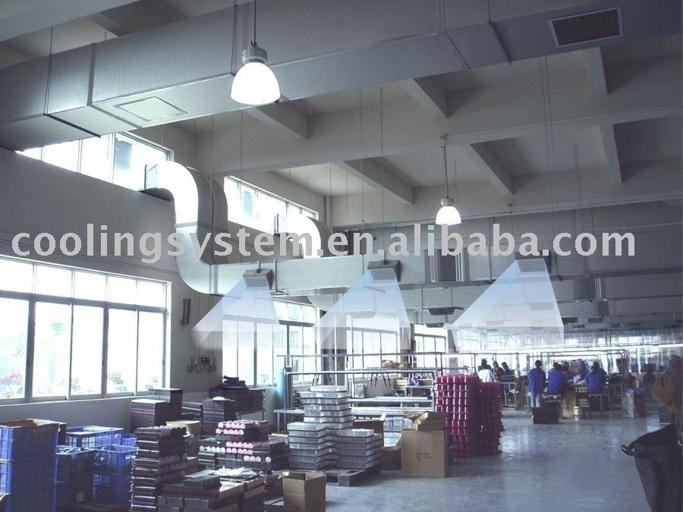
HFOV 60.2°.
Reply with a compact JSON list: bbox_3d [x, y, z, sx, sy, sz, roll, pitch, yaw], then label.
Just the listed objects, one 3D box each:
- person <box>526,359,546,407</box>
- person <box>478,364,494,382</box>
[{"bbox_3d":[5.020,3.344,15.099,0.421,1.437,0.416,-2,11,6],"label":"person"},{"bbox_3d":[4.506,3.552,18.050,0.429,0.469,0.690,5,-13,-30],"label":"person"}]
